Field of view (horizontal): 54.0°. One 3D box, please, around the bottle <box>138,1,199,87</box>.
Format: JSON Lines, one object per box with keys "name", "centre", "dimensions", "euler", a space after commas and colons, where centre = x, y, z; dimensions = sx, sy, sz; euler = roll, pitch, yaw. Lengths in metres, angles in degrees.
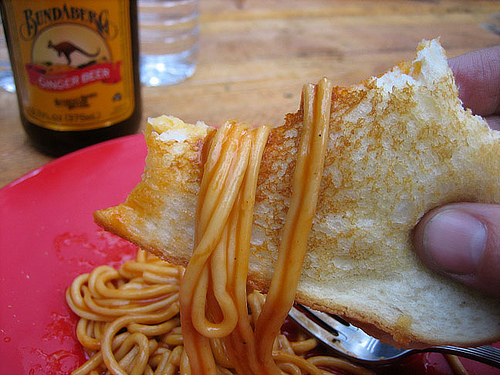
{"name": "bottle", "centre": [-0.412, -0.717, 2.603], "dimensions": [0.401, 0.512, 0.424], "euler": [-1, 10, 0]}
